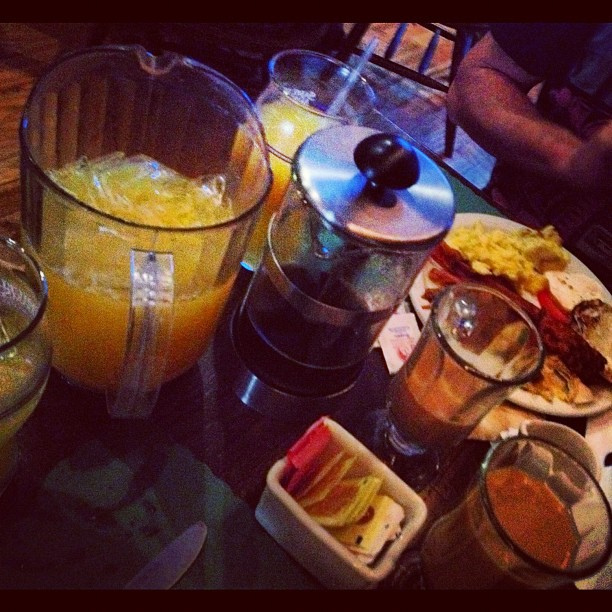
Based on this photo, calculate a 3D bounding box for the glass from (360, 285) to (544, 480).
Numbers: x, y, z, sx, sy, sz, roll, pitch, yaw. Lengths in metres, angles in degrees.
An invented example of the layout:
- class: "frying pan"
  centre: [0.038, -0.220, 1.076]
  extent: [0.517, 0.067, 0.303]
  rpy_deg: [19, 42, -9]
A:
- class: "glass"
  centre: [0.147, 0.093, 0.601]
  extent: [0.124, 0.194, 0.122]
  rpy_deg: [15, 40, -12]

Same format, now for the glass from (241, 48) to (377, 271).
- class: "glass"
  centre: [-0.026, -0.181, 0.794]
  extent: [0.263, 0.270, 0.253]
  rpy_deg: [-4, 42, -9]

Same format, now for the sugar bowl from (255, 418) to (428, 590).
- class: "sugar bowl"
  centre: [0.028, 0.187, 0.514]
  extent: [0.130, 0.079, 0.097]
  rpy_deg: [37, 39, 19]

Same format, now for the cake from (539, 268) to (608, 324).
- class: "cake"
  centre: [0.388, -0.022, 0.833]
  extent: [0.100, 0.022, 0.091]
  rpy_deg: [0, 41, -13]

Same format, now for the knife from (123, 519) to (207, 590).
- class: "knife"
  centre: [-0.112, 0.215, 0.481]
  extent: [0.022, 0.023, 0.093]
  rpy_deg: [43, 33, 5]

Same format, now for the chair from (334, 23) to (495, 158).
- class: "chair"
  centre: [0.224, -0.502, 1.153]
  extent: [0.313, 0.260, 0.215]
  rpy_deg: [14, 40, 16]

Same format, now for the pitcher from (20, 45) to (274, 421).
- class: "pitcher"
  centre: [-0.159, -0.069, 0.540]
  extent: [0.219, 0.268, 0.251]
  rpy_deg: [23, 37, 0]
